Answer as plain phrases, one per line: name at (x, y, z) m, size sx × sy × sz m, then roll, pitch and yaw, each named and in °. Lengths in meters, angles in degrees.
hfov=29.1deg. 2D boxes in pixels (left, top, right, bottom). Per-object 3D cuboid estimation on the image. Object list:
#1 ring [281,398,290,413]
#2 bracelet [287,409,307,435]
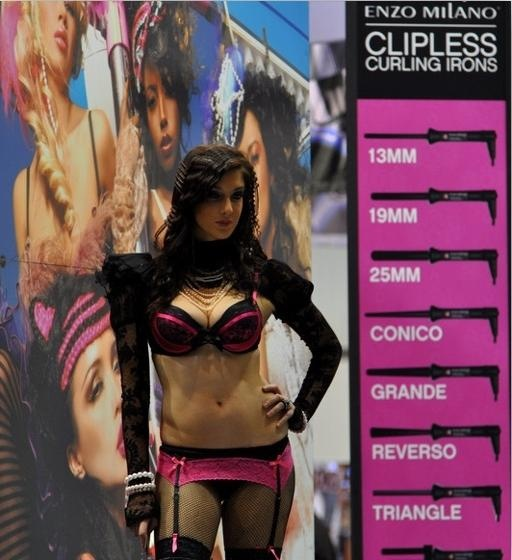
ring at (0.126, 0.506, 3.934) m, size 0.016 × 0.057 × 0.037 m, roll -13°, pitch 8°, yaw 44°
bracelet at (0.169, 0.595, 4.012) m, size 0.062 × 0.112 × 0.032 m, roll 2°, pitch -13°, yaw -38°
